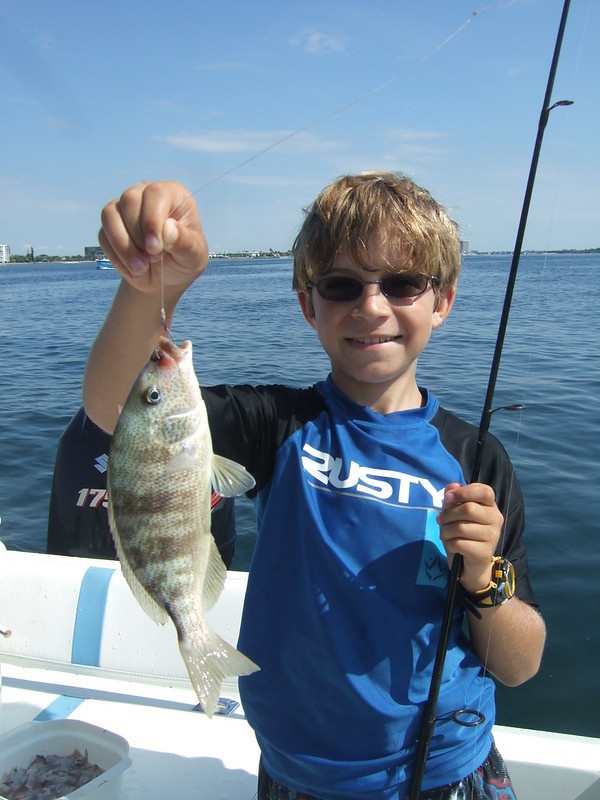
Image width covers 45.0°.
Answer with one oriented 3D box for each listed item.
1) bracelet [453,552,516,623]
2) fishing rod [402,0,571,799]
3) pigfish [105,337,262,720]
[{"bbox_3d":[0.545,0.517,2.086,0.222,0.112,0.159,-26,19,27],"label":"bracelet"},{"bbox_3d":[0.860,0.446,3.180,0.165,3.676,0.174,15,-4,-15],"label":"fishing rod"},{"bbox_3d":[-0.303,0.289,2.036,0.520,1.048,0.335,-1,2,-4],"label":"pigfish"}]
